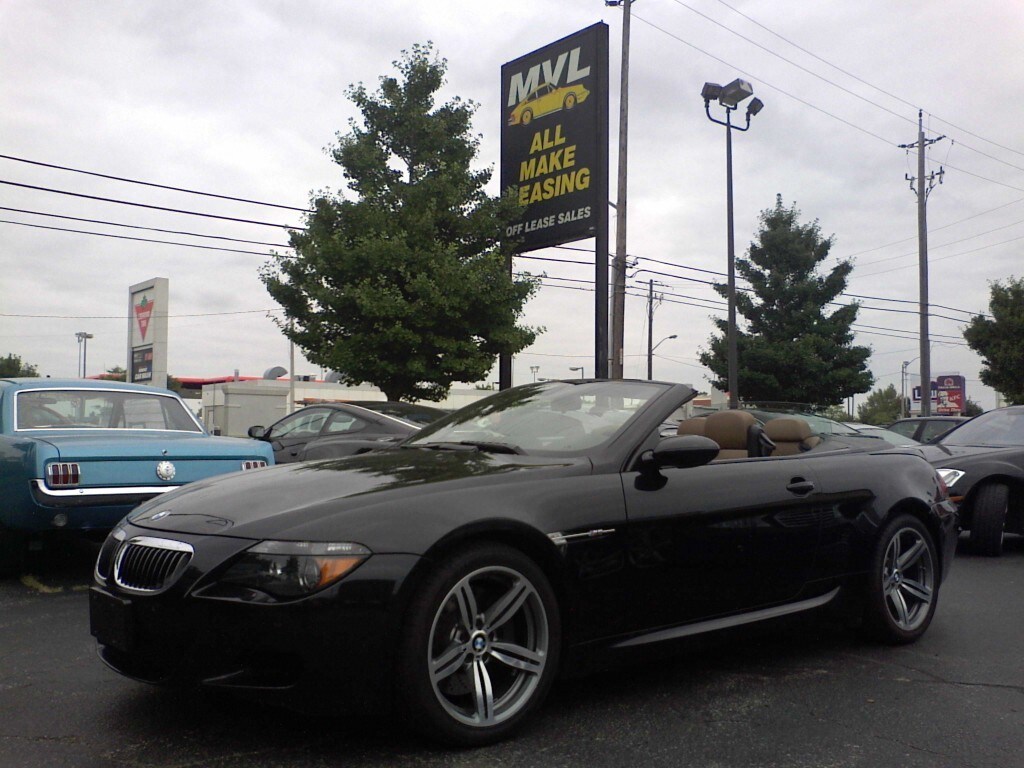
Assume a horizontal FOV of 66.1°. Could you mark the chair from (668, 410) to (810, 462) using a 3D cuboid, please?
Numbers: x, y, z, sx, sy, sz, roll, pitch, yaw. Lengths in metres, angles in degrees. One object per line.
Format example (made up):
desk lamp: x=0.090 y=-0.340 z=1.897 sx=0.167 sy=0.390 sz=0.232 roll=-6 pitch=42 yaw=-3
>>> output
chair: x=1.411 y=0.317 z=5.073 sx=0.533 sy=0.209 sz=0.505 roll=-3 pitch=-5 yaw=45

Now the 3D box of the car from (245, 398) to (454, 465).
car: x=-2.333 y=0.548 z=9.860 sx=2.058 sy=0.580 sz=1.105 roll=0 pitch=-1 yaw=41
